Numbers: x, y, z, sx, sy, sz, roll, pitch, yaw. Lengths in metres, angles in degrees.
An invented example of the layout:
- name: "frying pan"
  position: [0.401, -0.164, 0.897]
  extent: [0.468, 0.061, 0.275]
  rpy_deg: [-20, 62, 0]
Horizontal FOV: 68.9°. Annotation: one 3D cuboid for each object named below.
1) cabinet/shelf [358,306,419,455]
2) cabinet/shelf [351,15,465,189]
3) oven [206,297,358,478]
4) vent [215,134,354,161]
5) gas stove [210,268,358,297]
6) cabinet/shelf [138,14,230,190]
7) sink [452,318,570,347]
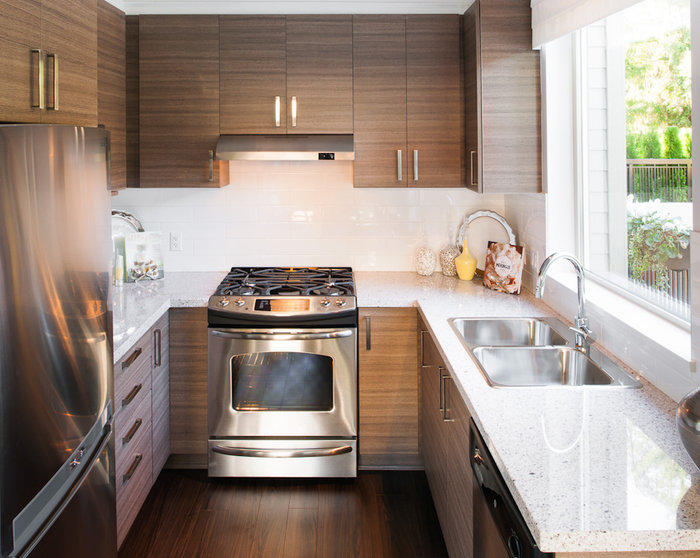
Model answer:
- name: "cabinet/shelf"
  position: [0.218, 0.591, 2.933]
  extent: [0.340, 0.854, 0.101]
  rpy_deg: [-1, 13, -2]
- name: "cabinet/shelf"
  position: [0.350, -1.076, 3.106]
  extent: [0.672, 0.996, 0.181]
  rpy_deg: [0, 13, 0]
- name: "oven"
  position: [-0.372, 0.609, 3.223]
  extent: [1.006, 1.344, 0.924]
  rpy_deg: [0, -1, -1]
- name: "vent"
  position: [-0.389, -0.795, 3.075]
  extent: [0.823, 0.151, 0.191]
  rpy_deg: [0, 13, -1]
- name: "gas stove"
  position: [-0.378, 0.010, 3.122]
  extent: [0.795, 0.042, 0.637]
  rpy_deg: [0, 13, -1]
- name: "cabinet/shelf"
  position: [-1.047, -1.118, 3.300]
  extent: [0.589, 1.017, 0.573]
  rpy_deg: [2, -2, -11]
- name: "sink"
  position: [0.745, 0.251, 2.385]
  extent: [0.204, 0.109, 0.258]
  rpy_deg: [0, 2, 0]
